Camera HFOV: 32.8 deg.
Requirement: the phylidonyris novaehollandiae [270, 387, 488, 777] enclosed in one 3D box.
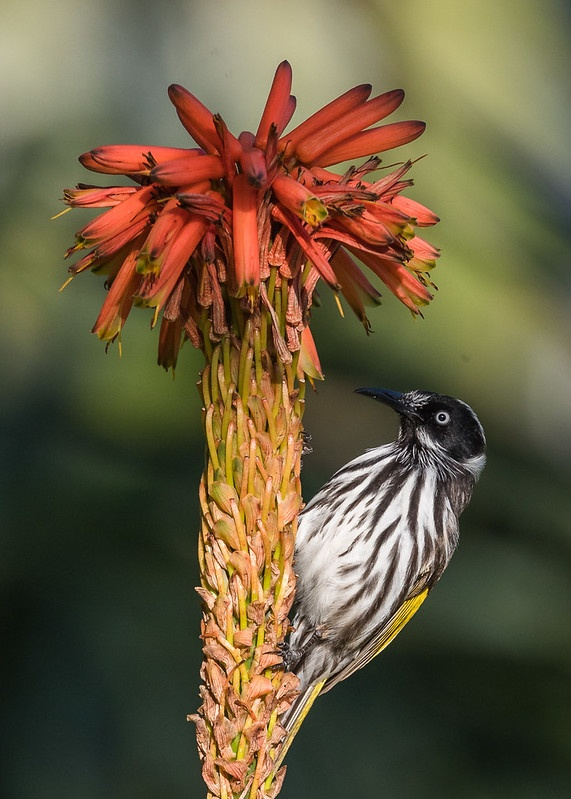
[{"bbox_3d":[0.109,0.203,1.214,0.296,0.478,0.152,22,3,-42],"label":"phylidonyris novaehollandiae"}]
